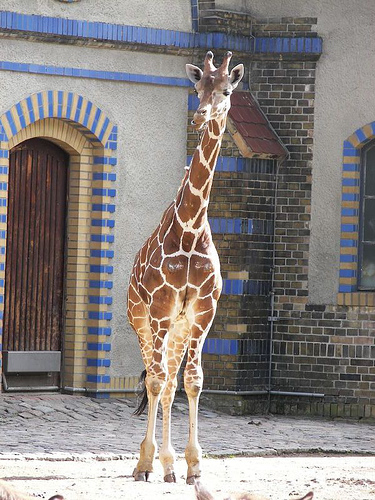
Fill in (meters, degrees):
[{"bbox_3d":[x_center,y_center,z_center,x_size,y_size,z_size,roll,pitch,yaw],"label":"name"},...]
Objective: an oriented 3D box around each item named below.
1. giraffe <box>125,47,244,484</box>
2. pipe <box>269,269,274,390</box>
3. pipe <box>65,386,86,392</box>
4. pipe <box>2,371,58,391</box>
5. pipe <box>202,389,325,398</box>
[{"bbox_3d":[-0.062,0.187,13.866,0.908,3.891,1.462,0,7,-7],"label":"giraffe"},{"bbox_3d":[0.965,0.924,18.559,0.038,1.389,0.109,2,-5,1],"label":"pipe"},{"bbox_3d":[-1.278,1.574,18.035,0.234,0.056,0.109,3,-5,-5],"label":"pipe"},{"bbox_3d":[-1.774,1.477,17.793,0.118,0.211,0.789,-2,-7,41],"label":"pipe"},{"bbox_3d":[0.861,1.640,18.299,1.395,0.076,0.390,5,-6,-22],"label":"pipe"}]
